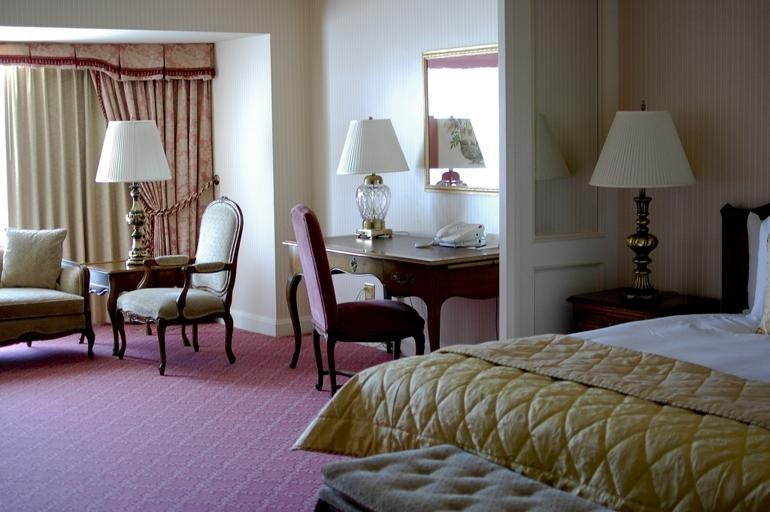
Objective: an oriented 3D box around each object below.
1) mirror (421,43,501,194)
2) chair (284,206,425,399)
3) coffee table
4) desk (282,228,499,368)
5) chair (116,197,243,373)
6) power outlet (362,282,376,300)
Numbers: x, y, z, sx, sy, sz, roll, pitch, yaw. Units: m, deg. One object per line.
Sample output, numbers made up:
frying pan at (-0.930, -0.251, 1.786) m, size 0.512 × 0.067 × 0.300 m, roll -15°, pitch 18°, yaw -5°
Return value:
mirror at (0.554, -1.027, 4.644) m, size 0.096 × 1.062 × 0.722 m, roll -7°, pitch 10°, yaw -40°
chair at (-0.203, 0.185, 4.783) m, size 1.097 × 1.883 × 1.040 m, roll -3°, pitch 6°, yaw -19°
coffee table at (-2.096, 0.165, 5.332) m, size 1.017 × 0.930 × 0.768 m, roll -8°, pitch 10°, yaw -44°
desk at (0.048, 0.385, 4.715) m, size 1.563 × 1.006 × 0.881 m, roll 7°, pitch 11°, yaw 44°
chair at (-1.655, 0.197, 5.035) m, size 0.963 × 1.309 × 0.669 m, roll -4°, pitch 8°, yaw -21°
power outlet at (-0.139, 0.298, 5.393) m, size 0.016 × 0.162 × 0.134 m, roll -4°, pitch 9°, yaw -34°
